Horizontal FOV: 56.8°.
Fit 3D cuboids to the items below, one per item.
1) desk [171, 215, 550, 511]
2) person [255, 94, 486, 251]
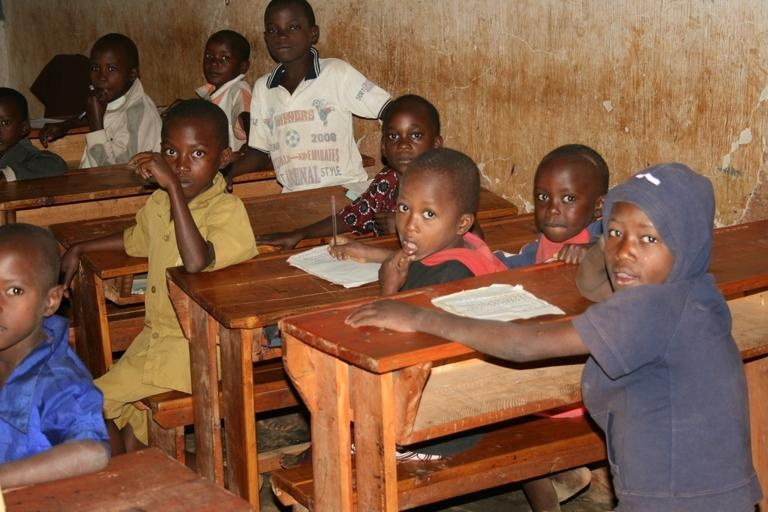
[{"bbox_3d":[-0.111,0.326,2.984,1.768,1.058,0.865,-15,24,-37],"label":"desk"},{"bbox_3d":[0.026,-0.398,3.785,1.329,0.894,0.785,2,9,19],"label":"person"}]
